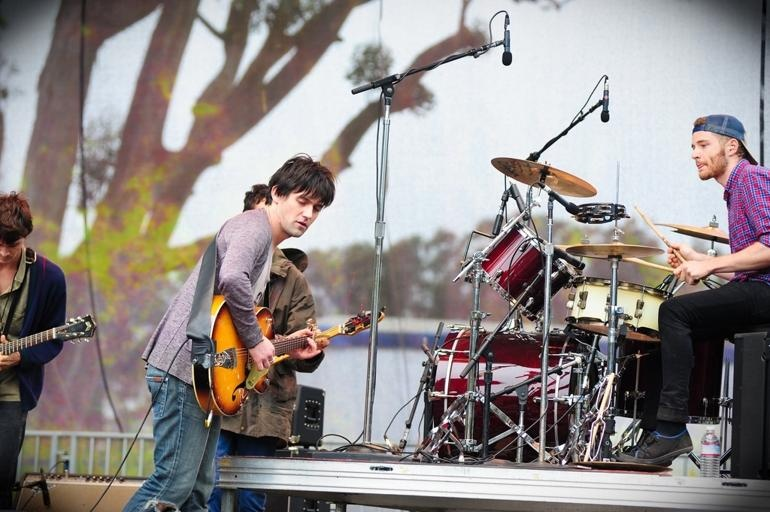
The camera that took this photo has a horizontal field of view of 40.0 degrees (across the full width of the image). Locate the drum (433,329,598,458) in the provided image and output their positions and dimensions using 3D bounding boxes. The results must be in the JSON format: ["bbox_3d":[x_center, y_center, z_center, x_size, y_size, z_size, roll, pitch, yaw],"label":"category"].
[{"bbox_3d":[1.138,1.049,8.768,1.041,1.170,1.033,-2,-7,37],"label":"drum"}]

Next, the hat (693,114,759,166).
[{"bbox_3d":[2.655,-0.889,8.260,0.447,0.357,0.341,11,3,14],"label":"hat"}]

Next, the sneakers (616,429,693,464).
[{"bbox_3d":[1.993,1.397,7.801,0.536,0.250,0.191,-2,-14,14],"label":"sneakers"}]

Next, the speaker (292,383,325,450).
[{"bbox_3d":[-0.645,1.359,9.003,0.267,0.500,0.324,13,13,40],"label":"speaker"}]

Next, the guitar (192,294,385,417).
[{"bbox_3d":[-0.825,0.745,7.799,0.174,0.564,1.264,9,15,43],"label":"guitar"}]

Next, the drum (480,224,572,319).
[{"bbox_3d":[1.114,0.102,8.627,0.727,0.535,0.711,39,-2,2],"label":"drum"}]

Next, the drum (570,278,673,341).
[{"bbox_3d":[1.775,0.355,8.511,0.967,0.558,0.574,1,13,-46],"label":"drum"}]

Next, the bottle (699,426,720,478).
[{"bbox_3d":[2.402,1.423,7.793,0.140,0.367,0.396,-2,-14,16],"label":"bottle"}]
